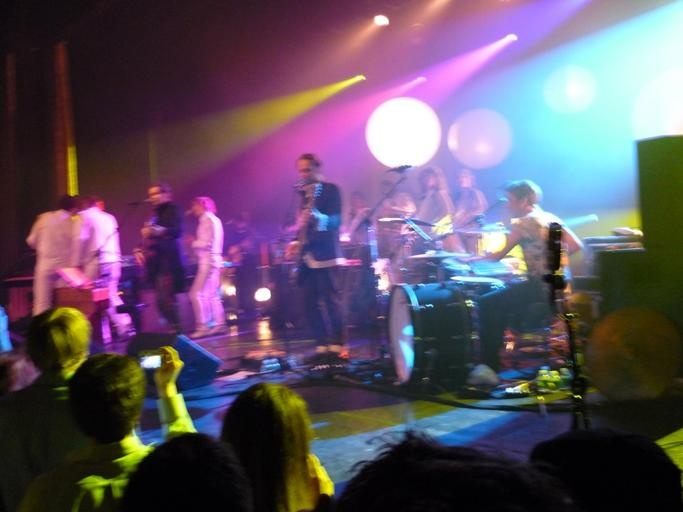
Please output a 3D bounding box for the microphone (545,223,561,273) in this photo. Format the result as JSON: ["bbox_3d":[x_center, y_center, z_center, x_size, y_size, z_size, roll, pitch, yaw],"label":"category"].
[{"bbox_3d":[1.199,-0.036,2.978,0.055,0.197,0.093,-5,-4,0],"label":"microphone"}]

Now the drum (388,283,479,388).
[{"bbox_3d":[0.765,0.627,4.221,0.550,0.877,0.893,-3,1,-18],"label":"drum"}]

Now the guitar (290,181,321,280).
[{"bbox_3d":[-0.368,-0.265,5.105,0.136,0.843,0.291,0,9,-29],"label":"guitar"}]

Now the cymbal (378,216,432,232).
[{"bbox_3d":[0.646,-0.331,5.656,0.555,0.087,0.193,15,-7,3],"label":"cymbal"}]

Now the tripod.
[{"bbox_3d":[-0.807,0.969,6.842,0.838,0.825,0.855,3,-1,31],"label":"tripod"}]
